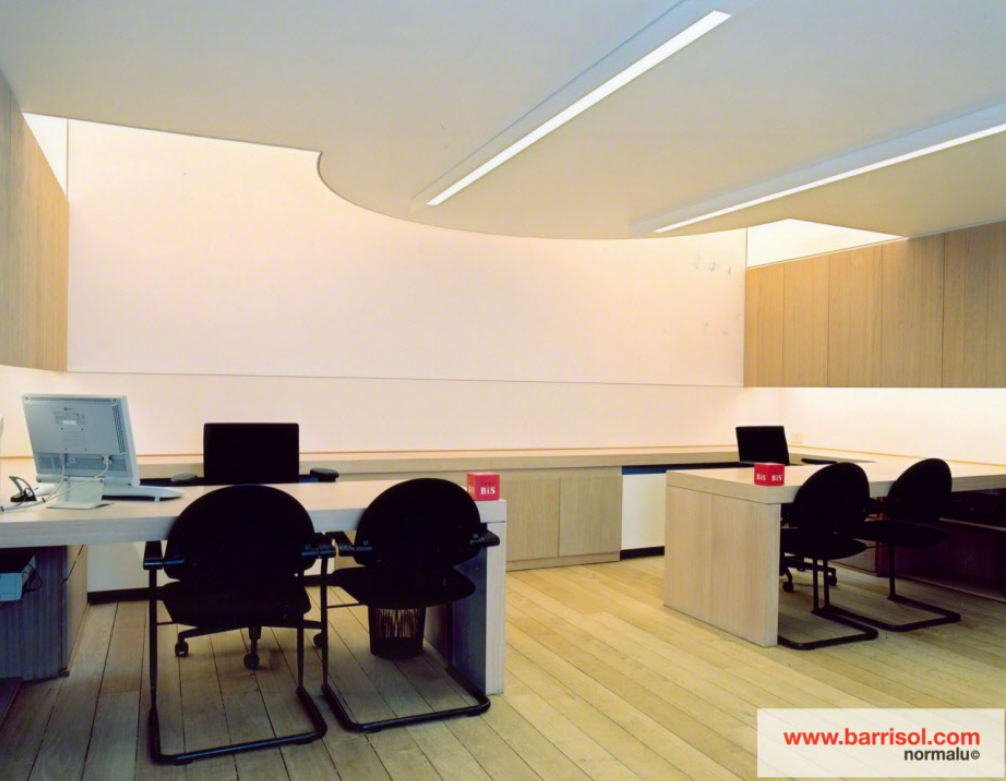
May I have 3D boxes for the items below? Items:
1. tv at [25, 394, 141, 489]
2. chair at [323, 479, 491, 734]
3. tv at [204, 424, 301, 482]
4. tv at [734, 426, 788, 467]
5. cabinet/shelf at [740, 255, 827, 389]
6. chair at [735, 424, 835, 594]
[{"bbox_3d":[-2.160,0.264,3.966,0.576,0.519,0.236,1,-1,10],"label":"tv"},{"bbox_3d":[-0.479,1.036,4.027,0.902,1.234,0.511,0,5,-13],"label":"chair"},{"bbox_3d":[-1.749,0.441,5.381,0.723,0.468,0.390,1,0,-15],"label":"tv"},{"bbox_3d":[2.300,0.498,6.914,0.497,0.325,0.328,-1,-4,8],"label":"tv"},{"bbox_3d":[2.819,-0.679,7.712,0.483,1.396,1.415,1,-2,-23],"label":"cabinet/shelf"},{"bbox_3d":[2.675,0.881,7.095,1.082,1.187,1.064,0,0,-35],"label":"chair"}]
